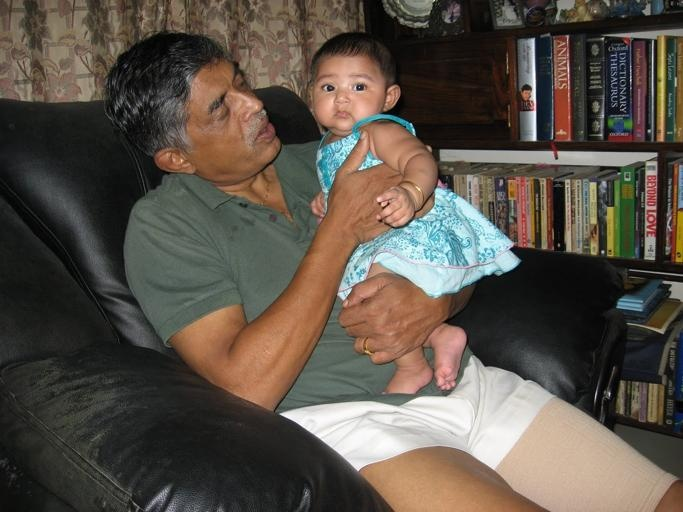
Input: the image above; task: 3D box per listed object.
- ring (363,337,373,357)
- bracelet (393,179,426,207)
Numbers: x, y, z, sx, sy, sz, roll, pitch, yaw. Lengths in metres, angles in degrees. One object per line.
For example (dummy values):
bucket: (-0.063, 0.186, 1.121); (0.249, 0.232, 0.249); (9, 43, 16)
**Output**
ring: (0.055, 0.209, 1.269); (0.028, 0.039, 0.019); (-12, 1, -30)
bracelet: (0.143, -0.134, 1.183); (0.022, 0.057, 0.049); (-39, -24, 21)
